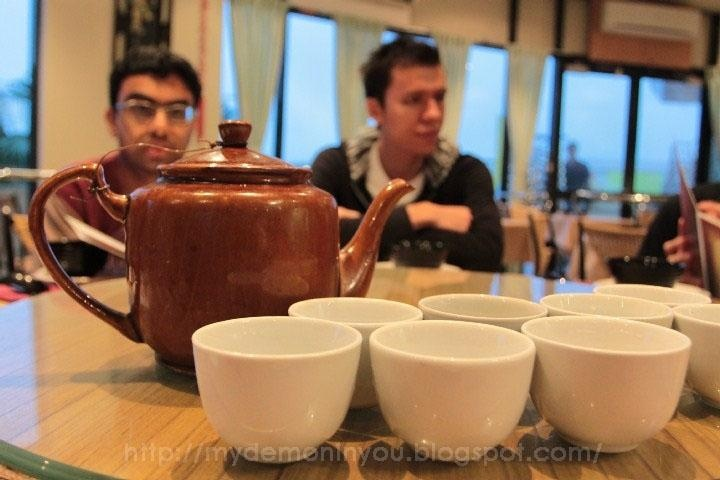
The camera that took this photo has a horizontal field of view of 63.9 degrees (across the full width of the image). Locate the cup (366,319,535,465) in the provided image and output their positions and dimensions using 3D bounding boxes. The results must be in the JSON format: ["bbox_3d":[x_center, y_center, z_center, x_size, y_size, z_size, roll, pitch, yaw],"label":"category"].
[{"bbox_3d":[0.112,0.170,0.738,0.175,0.115,0.172,-1,-3,0],"label":"cup"}]

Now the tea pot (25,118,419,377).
[{"bbox_3d":[-0.207,0.008,0.921,0.551,0.331,0.321,-2,-1,-23],"label":"tea pot"}]

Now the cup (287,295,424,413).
[{"bbox_3d":[-0.009,0.136,0.807,0.154,0.103,0.157,0,3,0],"label":"cup"}]

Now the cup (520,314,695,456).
[{"bbox_3d":[0.318,0.197,0.776,0.210,0.144,0.214,1,9,0],"label":"cup"}]

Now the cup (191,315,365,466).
[{"bbox_3d":[-0.119,0.192,0.758,0.221,0.149,0.214,-7,-7,-1],"label":"cup"}]
